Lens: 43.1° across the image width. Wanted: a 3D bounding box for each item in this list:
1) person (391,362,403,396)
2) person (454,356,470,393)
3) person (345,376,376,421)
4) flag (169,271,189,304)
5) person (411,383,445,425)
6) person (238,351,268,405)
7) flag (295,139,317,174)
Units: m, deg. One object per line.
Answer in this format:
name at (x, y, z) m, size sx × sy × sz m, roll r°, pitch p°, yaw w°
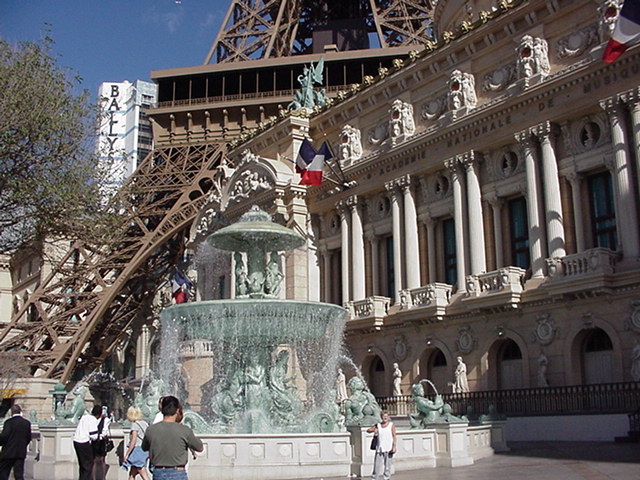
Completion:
person at (3.235, 5.765, 33.876) m, size 0.427 × 1.447 × 0.892 m, roll -3°, pitch -15°, yaw 10°
person at (5.395, 5.122, 31.110) m, size 0.604 × 1.514 × 1.274 m, roll -3°, pitch -16°, yaw 9°
person at (1.091, 4.128, 21.071) m, size 0.848 × 1.362 × 1.365 m, roll -1°, pitch -16°, yaw -1°
flag at (-7.497, 2.508, 43.666) m, size 0.875 × 1.757 × 2.107 m, roll 2°, pitch -16°, yaw -9°
person at (2.924, 4.511, 22.239) m, size 1.080 × 1.104 × 0.577 m, roll -15°, pitch -20°, yaw 40°
person at (-1.815, 4.004, 22.650) m, size 0.607 × 1.825 × 0.456 m, roll -2°, pitch 19°, yaw -6°
flag at (-0.612, -3.821, 36.093) m, size 0.872 × 1.741 × 1.697 m, roll 0°, pitch -16°, yaw -3°
